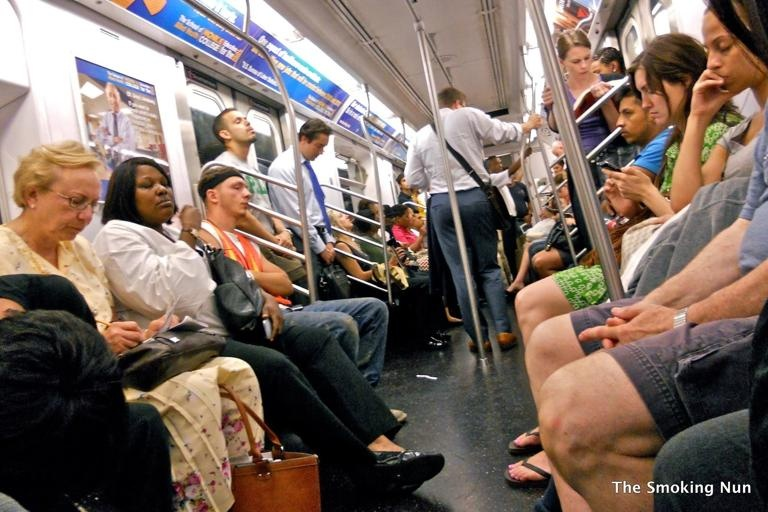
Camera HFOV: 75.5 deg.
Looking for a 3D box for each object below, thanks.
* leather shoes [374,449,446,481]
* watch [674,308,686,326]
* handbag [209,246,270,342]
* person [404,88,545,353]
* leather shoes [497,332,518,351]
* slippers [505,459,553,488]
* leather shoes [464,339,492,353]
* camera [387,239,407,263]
[{"bbox_3d":[0.120,0.917,2.236,0.356,0.118,0.124,2,4,3],"label":"leather shoes"},{"bbox_3d":[0.821,0.168,1.371,0.024,0.040,0.041,-8,-44,40],"label":"watch"},{"bbox_3d":[-0.758,0.178,2.648,0.241,0.522,0.184,-12,-13,-40],"label":"handbag"},{"bbox_3d":[1.016,-0.403,4.748,1.548,2.498,0.737,-8,-3,7],"label":"person"},{"bbox_3d":[1.080,0.733,4.305,0.098,0.078,0.221,9,-4,-9],"label":"leather shoes"},{"bbox_3d":[0.608,0.923,2.142,0.238,0.066,0.128,0,10,17],"label":"slippers"},{"bbox_3d":[0.838,0.789,4.373,0.253,0.109,0.089,3,-3,4],"label":"leather shoes"},{"bbox_3d":[0.178,-0.060,6.148,0.231,0.291,0.110,-2,8,25],"label":"camera"}]
